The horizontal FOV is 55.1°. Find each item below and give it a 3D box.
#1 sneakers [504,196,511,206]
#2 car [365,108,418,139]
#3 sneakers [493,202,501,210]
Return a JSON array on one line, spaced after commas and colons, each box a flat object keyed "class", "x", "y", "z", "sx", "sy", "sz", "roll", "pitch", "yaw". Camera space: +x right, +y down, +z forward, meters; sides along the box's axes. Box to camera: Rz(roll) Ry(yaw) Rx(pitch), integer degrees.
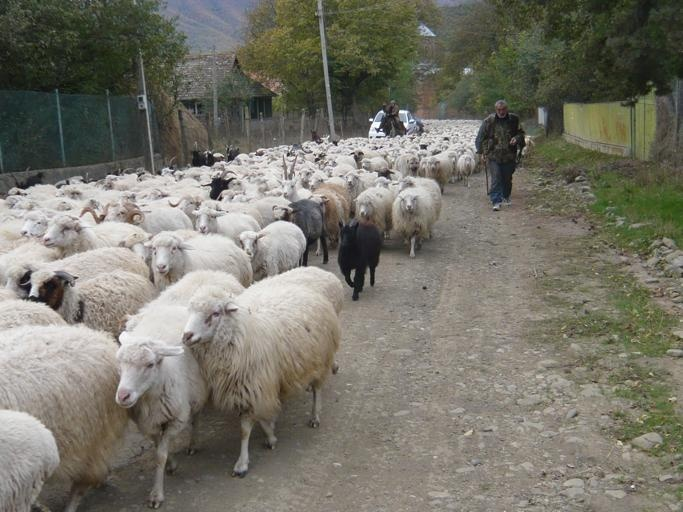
[{"class": "sneakers", "x": 4.286, "y": -1.437, "z": 16.845, "sx": 0.238, "sy": 0.294, "sz": 0.674, "roll": -1, "pitch": 4, "yaw": 14}, {"class": "car", "x": 3.144, "y": -8.051, "z": 39.533, "sx": 2.018, "sy": 1.614, "sz": 3.816, "roll": 1, "pitch": 12, "yaw": 15}, {"class": "sneakers", "x": 3.856, "y": -1.251, "z": 16.152, "sx": 0.171, "sy": 0.207, "sz": 0.520, "roll": 0, "pitch": 2, "yaw": 16}]
